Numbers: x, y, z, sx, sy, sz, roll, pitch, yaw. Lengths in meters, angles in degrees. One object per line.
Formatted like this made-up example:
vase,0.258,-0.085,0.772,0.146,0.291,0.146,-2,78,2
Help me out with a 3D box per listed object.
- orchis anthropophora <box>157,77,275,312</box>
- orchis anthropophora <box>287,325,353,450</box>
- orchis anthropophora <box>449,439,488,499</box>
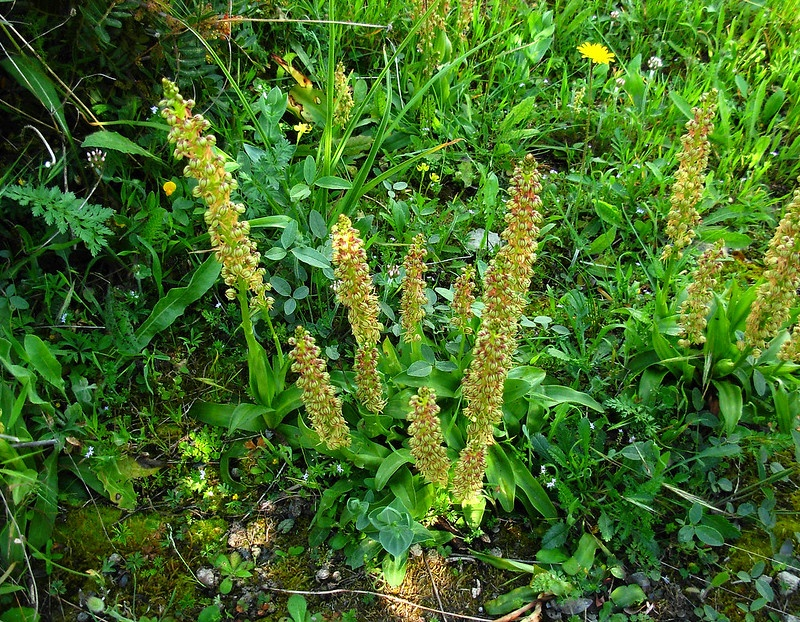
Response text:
orchis anthropophora,-0.719,-0.420,2.458,0.222,0.867,0.447,-27,53,-29
orchis anthropophora,-0.364,0.359,2.760,0.194,0.735,0.176,-25,39,-16
orchis anthropophora,0.289,0.673,2.621,0.132,0.343,0.130,14,43,14
